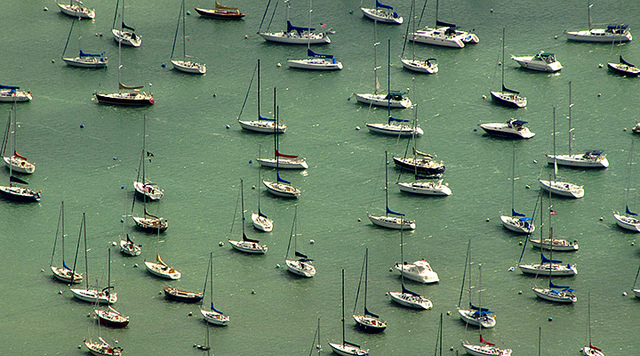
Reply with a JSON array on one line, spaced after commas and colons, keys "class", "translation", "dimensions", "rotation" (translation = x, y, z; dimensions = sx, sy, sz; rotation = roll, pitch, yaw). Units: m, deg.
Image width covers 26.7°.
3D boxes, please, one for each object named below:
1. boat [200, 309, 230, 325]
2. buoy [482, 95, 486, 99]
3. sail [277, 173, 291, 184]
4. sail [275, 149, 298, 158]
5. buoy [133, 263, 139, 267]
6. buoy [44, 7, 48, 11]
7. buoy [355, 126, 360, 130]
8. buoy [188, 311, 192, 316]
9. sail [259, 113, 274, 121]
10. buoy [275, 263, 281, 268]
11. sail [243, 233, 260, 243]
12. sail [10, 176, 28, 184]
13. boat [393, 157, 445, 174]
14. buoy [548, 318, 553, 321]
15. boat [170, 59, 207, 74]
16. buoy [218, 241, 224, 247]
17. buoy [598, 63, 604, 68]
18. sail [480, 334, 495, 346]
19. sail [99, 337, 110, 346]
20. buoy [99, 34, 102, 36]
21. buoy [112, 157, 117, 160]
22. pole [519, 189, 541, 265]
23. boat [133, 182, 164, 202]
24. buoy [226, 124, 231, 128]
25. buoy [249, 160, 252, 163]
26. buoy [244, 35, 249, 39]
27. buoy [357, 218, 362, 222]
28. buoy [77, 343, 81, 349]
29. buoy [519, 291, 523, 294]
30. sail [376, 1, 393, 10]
[{"class": "boat", "translation": [-21.053, 28.072, 271.759], "dimensions": [6.379, 1.984, 2.060], "rotation": [20, 32, 20]}, {"class": "buoy", "translation": [38.525, -18.773, 314.631], "dimensions": [0.710, 0.638, 0.355], "rotation": [-1, -16, 4]}, {"class": "sail", "translation": [-7.947, 0.217, 297.035], "dimensions": [2.392, 1.606, 0.050], "rotation": [8, -6, -1]}, {"class": "sail", "translation": [-7.439, -5.371, 301.830], "dimensions": [5.724, 1.929, 0.998], "rotation": [8, 13, -3]}, {"class": "buoy", "translation": [-38.369, 17.954, 281.435], "dimensions": [1.149, 0.472, 0.707], "rotation": [5, 29, -6]}, {"class": "buoy", "translation": [-67.892, -41.397, 333.779], "dimensions": [0.816, 0.476, 1.105], "rotation": [5, 29, -8]}, {"class": "buoy", "translation": [8.818, -11.359, 308.699], "dimensions": [0.738, 0.452, 0.890], "rotation": [6, 29, -4]}, {"class": "buoy", "translation": [-26.268, 27.261, 273.154], "dimensions": [0.751, 0.447, 0.905], "rotation": [3, 29, -11]}, {"class": "sail", "translation": [-12.276, -13.854, 309.756], "dimensions": [3.431, 0.200, 2.401], "rotation": [5, 30, -5]}, {"class": "buoy", "translation": [-8.615, 18.099, 281.460], "dimensions": [0.778, 0.684, 0.503], "rotation": [6, 59, -5]}, {"class": "sail", "translation": [-14.516, 12.657, 284.996], "dimensions": [5.089, 0.243, 2.922], "rotation": [3, 19, -8]}, {"class": "sail", "translation": [-65.923, 0.555, 294.286], "dimensions": [4.479, 1.265, 0.567], "rotation": [24, 16, -14]}, {"class": "boat", "translation": [21.811, -2.711, 299.706], "dimensions": [12.392, 2.948, 3.976], "rotation": [12, 5, 16]}, {"class": "buoy", "translation": [46.805, 28.305, 272.490], "dimensions": [0.601, 0.369, 0.629], "rotation": [-1, 1, -7]}, {"class": "boat", "translation": [-31.009, -25.624, 321.185], "dimensions": [9.412, 2.659, 3.151], "rotation": [13, 26, 6]}, {"class": "buoy", "translation": [-20.834, 13.786, 284.966], "dimensions": [1.224, 0.552, 1.199], "rotation": [6, 28, -4]}, {"class": "buoy", "translation": [67.063, -26.364, 320.218], "dimensions": [1.313, 0.580, 1.372], "rotation": [12, 29, 7]}, {"class": "sail", "translation": [33.523, 32.051, 268.848], "dimensions": [2.523, 0.119, 1.721], "rotation": [11, 45, -6]}, {"class": "sail", "translation": [-43.131, 32.256, 268.729], "dimensions": [2.503, 0.742, 0.496], "rotation": [46, 10, 28]}, {"class": "buoy", "translation": [-53.428, -34.507, 328.448], "dimensions": [0.474, 0.606, 0.230], "rotation": [7, 5, 8]}, {"class": "buoy", "translation": [-45.819, -4.391, 301.770], "dimensions": [0.685, 0.321, 0.770], "rotation": [26, 33, 29]}, {"class": "pole", "translation": [44.958, 11.058, 287.252], "dimensions": [0.332, 16.408, 0.655], "rotation": [38, -22, -29]}, {"class": "boat", "translation": [-37.070, 3.283, 294.299], "dimensions": [6.112, 3.430, 2.316], "rotation": [15, -21, -18]}, {"class": "buoy", "translation": [-21.021, -11.709, 308.988], "dimensions": [0.917, 0.836, 0.590], "rotation": [4, 18, 22]}, {"class": "buoy", "translation": [-15.471, -3.654, 301.711], "dimensions": [0.649, 0.481, 0.713], "rotation": [1, 1, -4]}, {"class": "buoy", "translation": [-17.770, -34.019, 328.342], "dimensions": [1.058, 0.534, 1.189], "rotation": [3, 29, -10]}, {"class": "buoy", "translation": [8.739, 8.879, 289.524], "dimensions": [0.804, 0.348, 0.811], "rotation": [4, 29, -7]}, {"class": "buoy", "translation": [-47.897, 33.279, 268.804], "dimensions": [0.698, 0.649, 0.736], "rotation": [22, 21, -17]}, {"class": "buoy", "translation": [41.430, 23.281, 276.750], "dimensions": [0.703, 0.387, 0.535], "rotation": [1, -3, -17]}, {"class": "sail", "translation": [16.018, -42.341, 334.062], "dimensions": [4.488, 0.845, 1.324], "rotation": [18, 0, -26]}]
